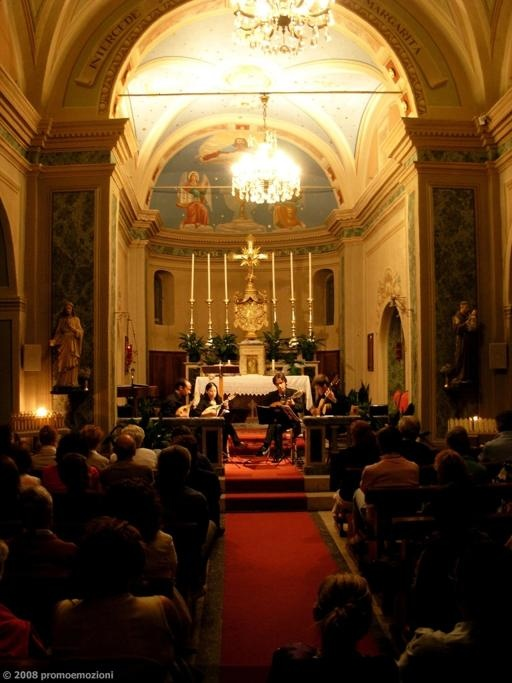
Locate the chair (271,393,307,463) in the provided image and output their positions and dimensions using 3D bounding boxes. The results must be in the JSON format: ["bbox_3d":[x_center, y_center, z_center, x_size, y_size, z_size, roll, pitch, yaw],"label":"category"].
[{"bbox_3d":[0.424,1.321,8.476,0.530,1.041,0.262,1,4,32],"label":"chair"}]

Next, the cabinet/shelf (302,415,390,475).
[{"bbox_3d":[1.214,1.400,8.433,1.091,1.033,0.928,0,-3,-1],"label":"cabinet/shelf"}]

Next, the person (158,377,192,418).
[{"bbox_3d":[-1.318,0.930,9.632,0.463,0.568,1.063,-3,-5,-10],"label":"person"}]

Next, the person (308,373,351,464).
[{"bbox_3d":[1.388,1.145,9.476,0.497,1.376,0.722,-11,18,17],"label":"person"}]

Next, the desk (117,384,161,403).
[{"bbox_3d":[-2.029,0.862,9.929,0.492,0.214,0.547,1,-5,-2],"label":"desk"}]

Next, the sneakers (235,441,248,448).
[{"bbox_3d":[-0.324,1.738,9.822,0.282,0.121,0.107,-6,-6,38],"label":"sneakers"}]

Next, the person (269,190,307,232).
[{"bbox_3d":[0.874,-3.553,16.576,1.099,1.705,0.677,1,7,21],"label":"person"}]

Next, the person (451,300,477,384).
[{"bbox_3d":[3.170,0.041,8.943,0.465,1.259,0.325,-4,-5,4],"label":"person"}]
